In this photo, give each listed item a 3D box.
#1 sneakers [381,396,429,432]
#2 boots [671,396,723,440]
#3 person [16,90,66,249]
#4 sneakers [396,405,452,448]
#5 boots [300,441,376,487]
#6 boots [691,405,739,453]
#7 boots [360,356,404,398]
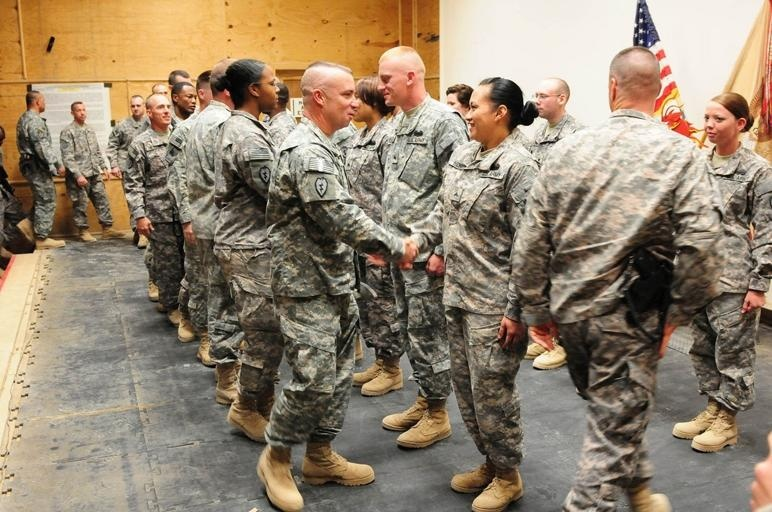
[{"bbox_3d":[0.118,1.102,4.628,0.159,0.205,0.457,12,-5,44],"label":"sneakers"},{"bbox_3d":[2.152,1.122,4.539,0.536,0.221,0.167,7,8,-34],"label":"boots"},{"bbox_3d":[-4.812,-1.196,9.184,0.545,2.142,0.883,-10,24,-22],"label":"person"},{"bbox_3d":[0.254,1.127,4.416,0.462,0.208,0.191,-2,11,-44],"label":"sneakers"},{"bbox_3d":[-0.326,1.280,4.118,0.632,0.263,0.194,-1,4,-8],"label":"boots"},{"bbox_3d":[2.187,1.155,4.393,0.495,0.218,0.166,1,4,-36],"label":"boots"},{"bbox_3d":[-0.052,0.944,5.136,0.189,0.217,0.478,12,7,30],"label":"boots"}]
